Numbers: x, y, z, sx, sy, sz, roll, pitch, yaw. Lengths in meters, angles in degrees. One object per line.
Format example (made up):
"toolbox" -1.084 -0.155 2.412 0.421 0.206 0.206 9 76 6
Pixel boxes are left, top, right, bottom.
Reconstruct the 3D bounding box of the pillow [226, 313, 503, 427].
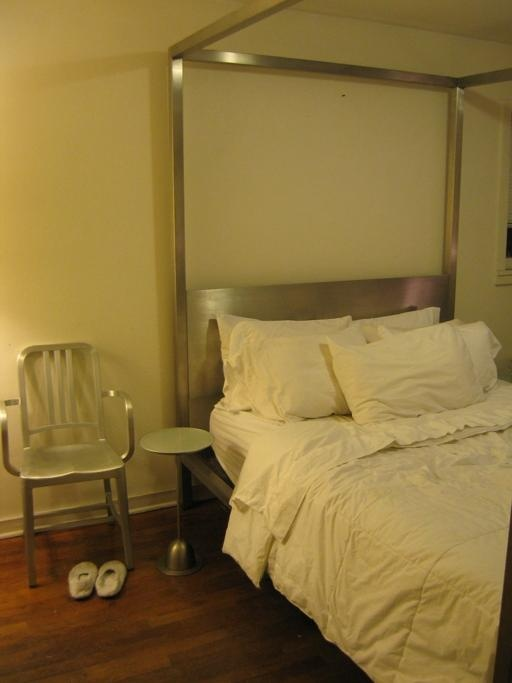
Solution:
"pillow" 0.551 0.117 2.517 1.322 0.404 0.636 -2 6 -15

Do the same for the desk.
"desk" -0.348 0.610 2.481 0.479 0.787 0.478 0 12 -9

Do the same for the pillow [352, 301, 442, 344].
"pillow" 0.780 -0.103 2.972 0.503 0.191 0.075 -15 -1 -28
